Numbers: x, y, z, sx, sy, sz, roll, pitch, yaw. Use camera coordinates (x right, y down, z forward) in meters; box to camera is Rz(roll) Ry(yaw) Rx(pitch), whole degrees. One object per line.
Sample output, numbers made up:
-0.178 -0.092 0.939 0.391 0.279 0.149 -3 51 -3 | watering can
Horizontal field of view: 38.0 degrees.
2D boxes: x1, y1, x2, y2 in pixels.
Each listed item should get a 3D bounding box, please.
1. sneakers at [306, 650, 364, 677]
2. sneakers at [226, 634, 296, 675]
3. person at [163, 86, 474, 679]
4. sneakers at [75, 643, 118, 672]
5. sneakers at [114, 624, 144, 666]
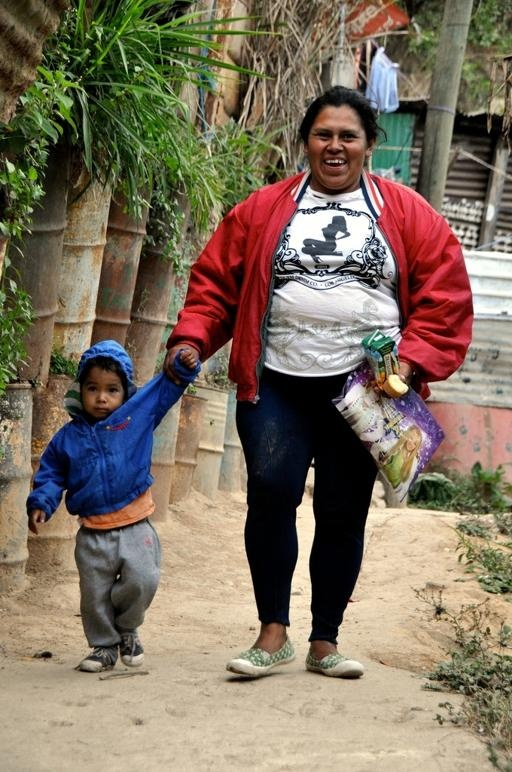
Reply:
0.252 0.872 2.371 0.171 0.058 0.072 -5 -10 44 | sneakers
0.021 0.830 2.275 0.087 0.081 0.239 -2 0 34 | sneakers
0.193 -0.005 2.280 0.893 1.798 0.432 0 -9 16 | person
-0.501 0.888 2.425 0.054 0.069 0.157 19 0 28 | sneakers
-0.409 0.850 2.450 0.051 0.059 0.141 -7 28 -14 | sneakers
